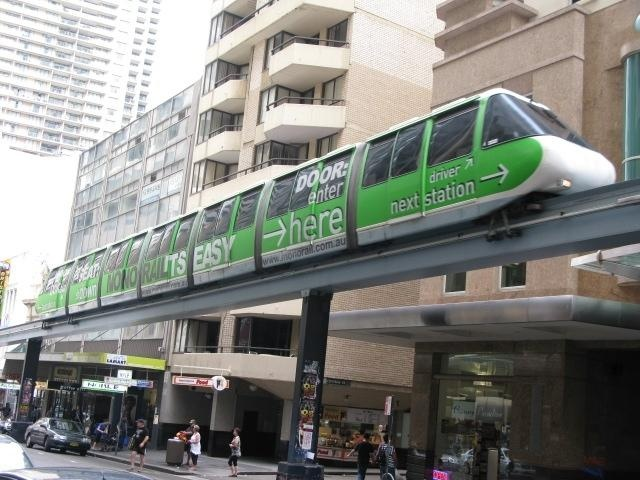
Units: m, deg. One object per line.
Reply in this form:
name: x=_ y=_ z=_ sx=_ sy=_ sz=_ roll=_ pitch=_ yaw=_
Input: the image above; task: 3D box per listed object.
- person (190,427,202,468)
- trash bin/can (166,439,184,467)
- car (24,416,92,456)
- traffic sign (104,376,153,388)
person: x=-5.275 y=8.833 z=27.758 sx=0.425 sy=1.771 sz=1.231 roll=6 pitch=-18 yaw=-9
trash bin/can: x=-6.230 y=9.222 z=28.176 sx=0.699 sy=1.092 sz=0.504 roll=3 pitch=-18 yaw=-1
car: x=-12.186 y=9.269 z=30.768 sx=1.821 sy=1.573 sz=2.936 roll=17 pitch=-22 yaw=-39
traffic sign: x=-9.371 y=7.082 z=32.294 sx=1.082 sy=0.397 sz=2.448 roll=-5 pitch=-17 yaw=23
